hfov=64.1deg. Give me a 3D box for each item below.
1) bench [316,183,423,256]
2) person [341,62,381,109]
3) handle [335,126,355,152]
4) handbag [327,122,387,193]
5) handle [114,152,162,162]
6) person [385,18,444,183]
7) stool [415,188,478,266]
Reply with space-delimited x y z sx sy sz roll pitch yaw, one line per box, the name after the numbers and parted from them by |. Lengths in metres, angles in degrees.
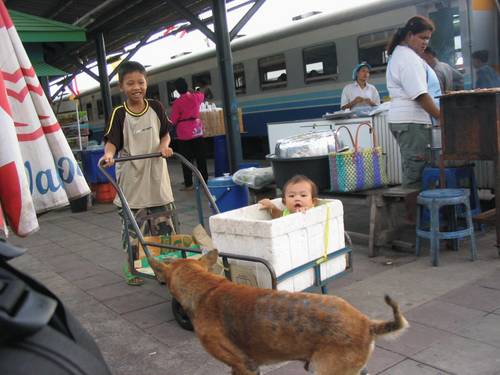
1.397 0.359 4.525 0.357 0.402 0.797 -18 14 -31 | bench
2.358 -1.976 8.379 0.850 1.195 0.586 1 8 6 | person
1.213 -0.656 5.136 0.230 0.302 1.344 -4 10 13 | handle
1.306 -0.381 4.965 0.810 0.776 0.475 -6 6 -34 | handbag
-1.143 -0.315 4.143 0.512 0.060 0.061 -7 25 -3 | handle
2.089 -1.095 5.131 0.589 2.025 0.474 -3 12 18 | person
2.163 0.372 4.479 0.602 0.756 0.547 -10 14 -5 | stool
